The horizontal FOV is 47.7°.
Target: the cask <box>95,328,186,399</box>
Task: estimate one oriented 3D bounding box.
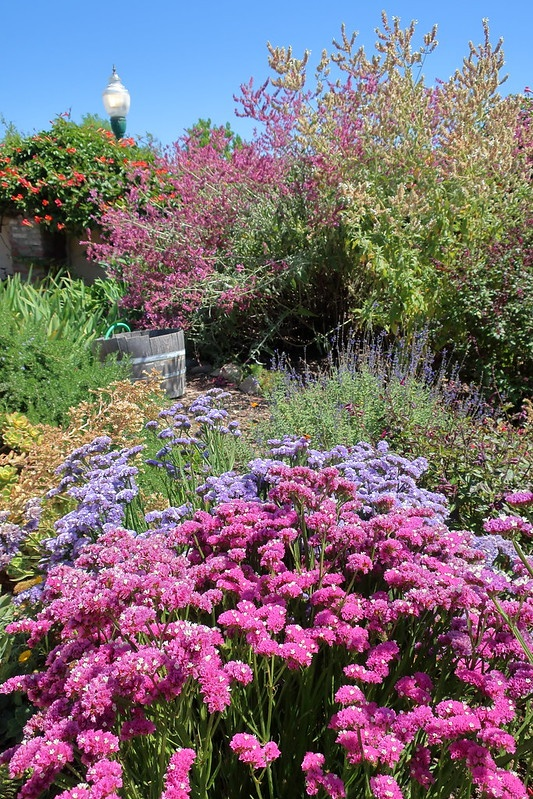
[{"bbox_3d":[-1.102,-0.393,5.375,0.697,0.590,0.782,1,10,11],"label":"cask"}]
